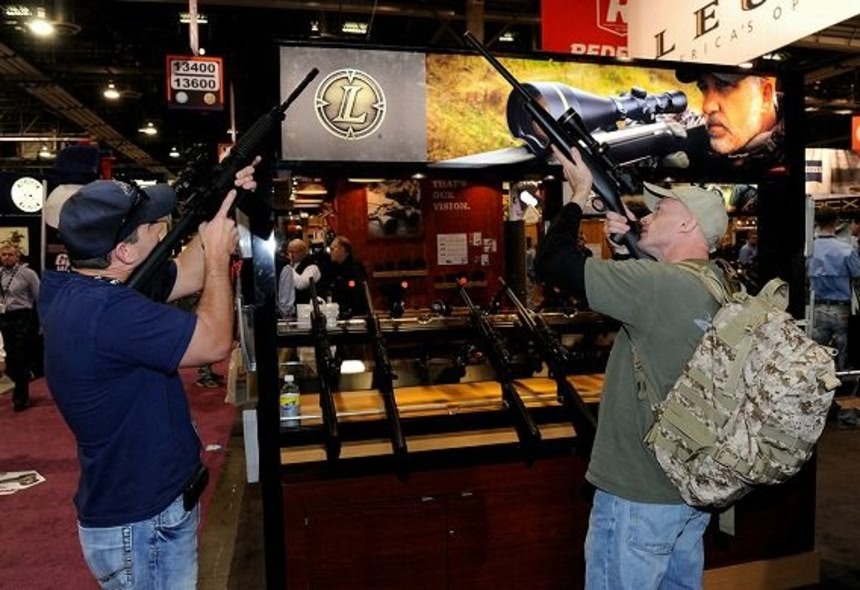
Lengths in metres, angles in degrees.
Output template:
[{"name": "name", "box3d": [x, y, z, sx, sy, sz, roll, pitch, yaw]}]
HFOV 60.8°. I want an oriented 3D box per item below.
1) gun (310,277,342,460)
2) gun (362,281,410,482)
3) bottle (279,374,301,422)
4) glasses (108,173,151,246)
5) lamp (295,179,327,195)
[{"name": "gun", "box3d": [-0.608, 0.462, 4.214, 0.061, 1.147, 0.249, 1, -29, -21]}, {"name": "gun", "box3d": [-0.264, 0.552, 4.320, 0.098, 1.387, 0.242, -2, -39, -15]}, {"name": "bottle", "box3d": [-0.797, 0.584, 4.136, 0.103, 0.221, 0.270, -5, 4, -10]}, {"name": "glasses", "box3d": [-1.285, -0.371, 3.195, 0.059, 0.233, 0.216, 21, -1, -42]}, {"name": "lamp", "box3d": [-1.318, -1.193, 8.114, 0.309, 0.146, 0.318, -1, 7, 0]}]
